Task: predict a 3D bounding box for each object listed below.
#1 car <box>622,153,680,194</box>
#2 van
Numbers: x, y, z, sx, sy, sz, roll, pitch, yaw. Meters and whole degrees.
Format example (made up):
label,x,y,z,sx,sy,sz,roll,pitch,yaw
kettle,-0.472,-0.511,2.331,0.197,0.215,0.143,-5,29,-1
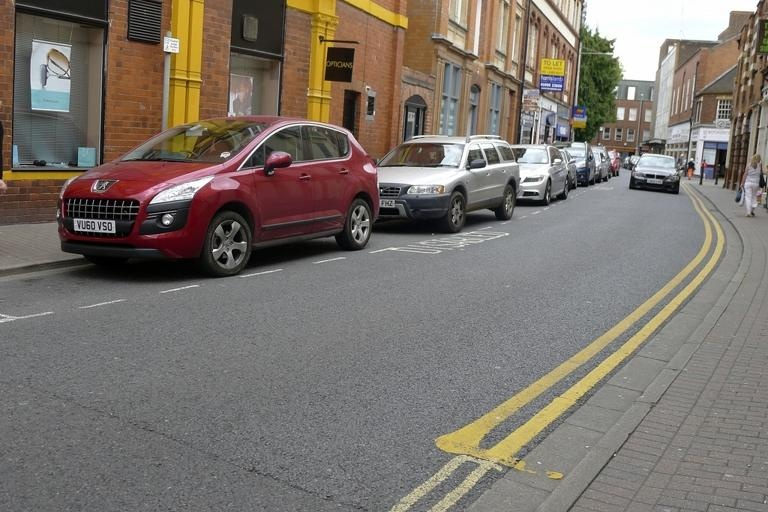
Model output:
label,x,y,z,sx,sy,sz,roll,pitch,yaw
car,16.792,-5.017,33.381,2.534,2.175,2.997,7,14,34
van,1.661,-2.058,14.570,2.271,1.736,4.075,4,6,31
